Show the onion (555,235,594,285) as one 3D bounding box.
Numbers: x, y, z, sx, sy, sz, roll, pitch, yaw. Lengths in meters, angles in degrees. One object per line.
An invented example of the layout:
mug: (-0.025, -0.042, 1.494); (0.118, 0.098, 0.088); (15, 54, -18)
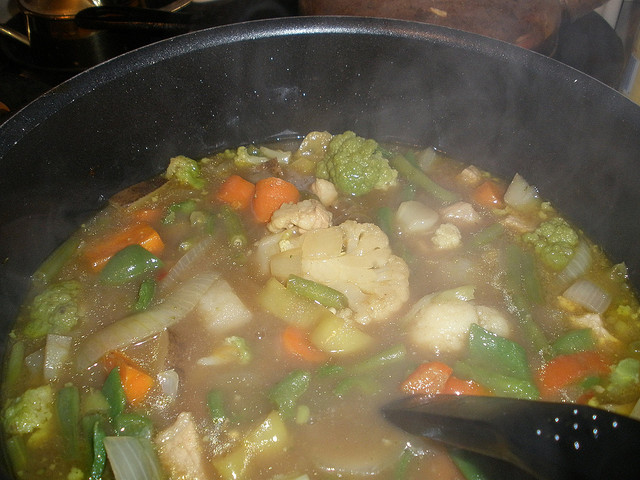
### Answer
onion: (1.134, 0.113, 2.630); (0.106, 0.070, 0.270); (37, 76, 11)

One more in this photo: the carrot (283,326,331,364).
carrot: (-0.070, 0.434, 2.394); (0.122, 0.030, 0.206); (-40, 77, -12)

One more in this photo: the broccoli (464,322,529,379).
broccoli: (0.701, 0.441, 2.364); (0.266, 0.050, 0.157); (19, 73, 6)

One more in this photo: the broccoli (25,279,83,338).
broccoli: (-1.075, 0.289, 2.431); (0.192, 0.053, 0.196); (-29, 69, -13)

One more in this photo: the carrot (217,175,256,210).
carrot: (-0.410, -0.225, 2.907); (0.194, 0.190, 0.146); (8, 93, 2)

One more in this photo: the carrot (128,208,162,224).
carrot: (-0.799, -0.107, 2.746); (0.123, 0.074, 0.064); (-8, 47, -6)

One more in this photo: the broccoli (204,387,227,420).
broccoli: (-0.393, 0.623, 2.265); (0.060, 0.034, 0.117); (-16, 62, -14)

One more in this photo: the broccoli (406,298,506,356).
broccoli: (0.523, 0.318, 2.344); (0.306, 0.093, 0.219); (3, 69, 11)

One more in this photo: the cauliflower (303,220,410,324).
cauliflower: (0.184, 0.138, 2.539); (0.437, 0.127, 0.394); (43, 77, 12)

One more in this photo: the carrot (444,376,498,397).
carrot: (0.576, 0.549, 2.244); (0.191, 0.158, 0.073); (7, 72, 2)

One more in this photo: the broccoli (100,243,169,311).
broccoli: (-0.773, 0.151, 2.549); (0.249, 0.115, 0.249); (-42, 82, -16)

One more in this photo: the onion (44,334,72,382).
onion: (-1.028, 0.459, 2.339); (0.083, 0.040, 0.179); (-2, 73, -1)

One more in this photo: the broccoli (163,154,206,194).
broccoli: (-0.634, -0.309, 2.853); (0.206, 0.063, 0.153); (44, 70, -20)

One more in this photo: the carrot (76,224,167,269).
carrot: (-0.880, 0.022, 2.628); (0.294, 0.098, 0.180); (-27, 41, -24)

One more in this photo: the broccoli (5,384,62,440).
broccoli: (-1.075, 0.647, 2.244); (0.226, 0.051, 0.187); (-5, 73, -2)

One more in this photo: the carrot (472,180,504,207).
carrot: (0.806, -0.220, 2.865); (0.120, 0.054, 0.121); (-25, 71, -16)

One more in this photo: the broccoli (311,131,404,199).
broccoli: (0.182, -0.338, 2.824); (0.359, 0.114, 0.331); (-32, 80, -9)

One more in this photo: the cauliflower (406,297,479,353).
cauliflower: (0.493, 0.344, 2.396); (0.216, 0.059, 0.205); (-39, 62, -3)
